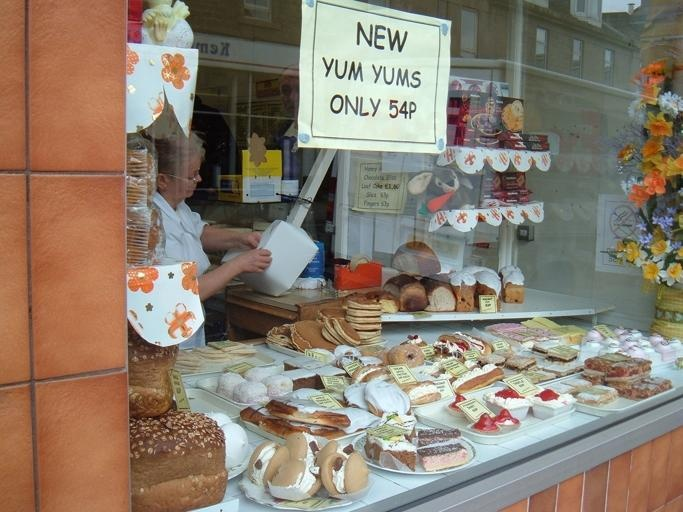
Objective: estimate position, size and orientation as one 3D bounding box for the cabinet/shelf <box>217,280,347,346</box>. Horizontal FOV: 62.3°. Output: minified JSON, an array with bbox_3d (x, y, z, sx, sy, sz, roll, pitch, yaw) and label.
[{"bbox_3d":[-0.230,0.183,2.265,0.425,0.276,0.242,6,3,44],"label":"cabinet/shelf"}]

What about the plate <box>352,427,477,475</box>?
[{"bbox_3d":[0.204,0.489,1.452,0.340,0.102,0.121,-1,8,-16],"label":"plate"}]

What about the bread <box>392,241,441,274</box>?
[{"bbox_3d":[0.304,0.015,2.217,0.164,0.131,0.053,-18,5,-12],"label":"bread"}]

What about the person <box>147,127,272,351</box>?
[{"bbox_3d":[-0.415,-0.073,1.838,0.505,0.796,0.359,-5,49,-12],"label":"person"}]
